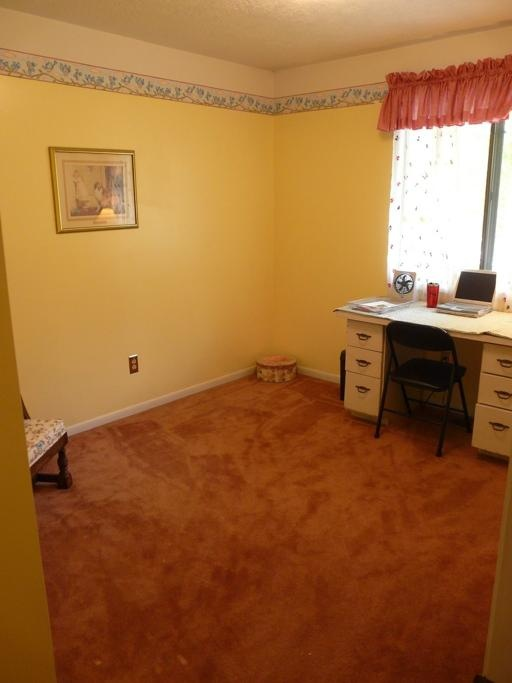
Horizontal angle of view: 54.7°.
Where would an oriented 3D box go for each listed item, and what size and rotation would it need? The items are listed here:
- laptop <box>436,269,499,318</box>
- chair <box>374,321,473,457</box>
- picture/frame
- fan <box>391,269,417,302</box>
[{"bbox_3d":[1.315,-0.325,3.102,0.316,0.280,0.281,-15,20,-35],"label":"laptop"},{"bbox_3d":[1.017,0.285,3.023,0.455,0.817,0.495,13,33,36],"label":"chair"},{"bbox_3d":[-0.996,-0.916,2.969,0.042,0.460,0.541,12,19,37],"label":"picture/frame"},{"bbox_3d":[1.010,-0.396,3.385,0.060,0.188,0.182,-5,11,-45],"label":"fan"}]
